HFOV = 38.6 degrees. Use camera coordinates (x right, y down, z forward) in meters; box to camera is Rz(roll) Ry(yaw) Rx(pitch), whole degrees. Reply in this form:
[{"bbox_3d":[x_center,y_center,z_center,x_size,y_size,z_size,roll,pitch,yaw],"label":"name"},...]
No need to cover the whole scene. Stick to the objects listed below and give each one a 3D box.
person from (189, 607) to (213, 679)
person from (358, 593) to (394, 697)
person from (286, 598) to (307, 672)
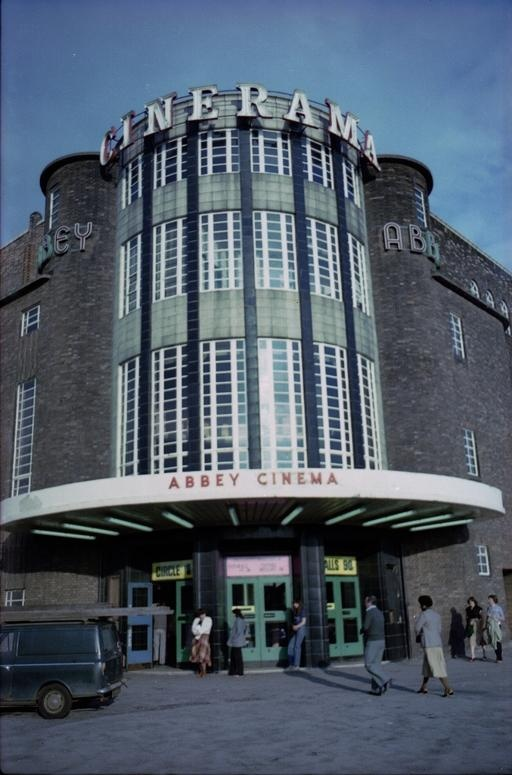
[{"bbox_3d":[-1.448,6.422,18.595,0.556,1.589,1.581,-3,-15,-6],"label":"person"},{"bbox_3d":[2.090,4.543,12.970,0.403,1.638,0.594,-6,-16,6],"label":"person"},{"bbox_3d":[1.068,6.518,19.441,0.566,1.702,1.559,-5,-15,1],"label":"person"}]
